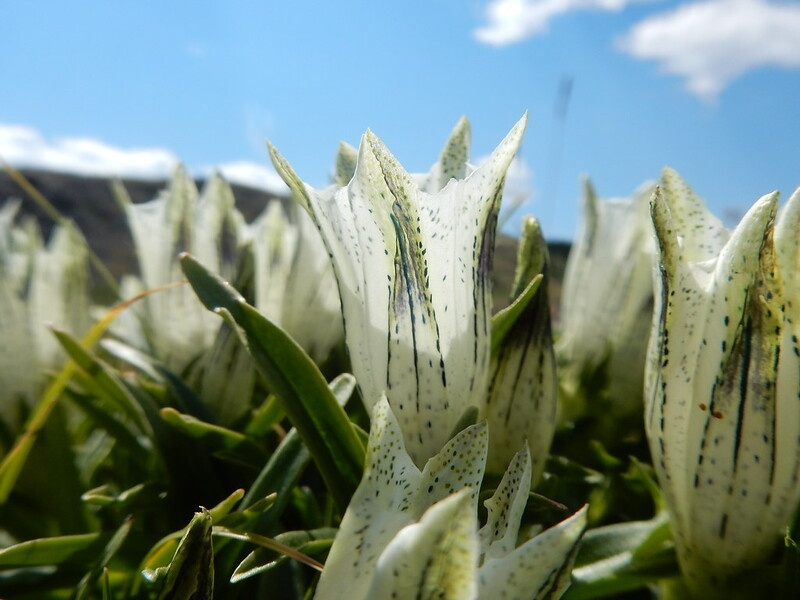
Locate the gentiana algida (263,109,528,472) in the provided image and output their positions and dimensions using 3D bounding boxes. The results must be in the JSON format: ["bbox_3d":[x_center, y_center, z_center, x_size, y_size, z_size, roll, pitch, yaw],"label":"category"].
[{"bbox_3d":[-0.022,-0.027,0.932,0.190,0.380,0.221,-6,4,-14],"label":"gentiana algida"}]
